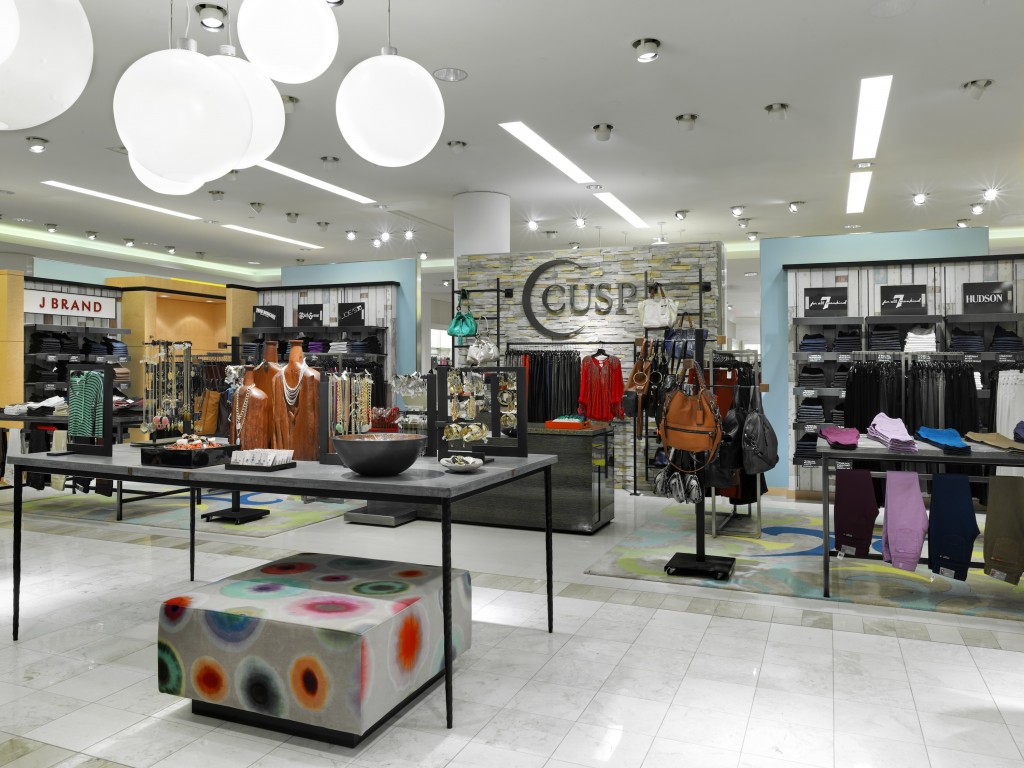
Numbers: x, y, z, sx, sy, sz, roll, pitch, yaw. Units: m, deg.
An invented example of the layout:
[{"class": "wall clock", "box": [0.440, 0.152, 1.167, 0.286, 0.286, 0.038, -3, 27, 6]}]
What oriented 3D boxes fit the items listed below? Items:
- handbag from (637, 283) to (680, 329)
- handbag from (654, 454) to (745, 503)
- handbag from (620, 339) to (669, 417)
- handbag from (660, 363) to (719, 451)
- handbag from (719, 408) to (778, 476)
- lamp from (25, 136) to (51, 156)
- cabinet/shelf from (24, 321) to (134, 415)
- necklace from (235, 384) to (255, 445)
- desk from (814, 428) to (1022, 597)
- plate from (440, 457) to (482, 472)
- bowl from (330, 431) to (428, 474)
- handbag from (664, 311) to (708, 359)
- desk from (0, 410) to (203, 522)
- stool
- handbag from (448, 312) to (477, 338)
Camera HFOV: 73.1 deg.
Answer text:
[{"class": "handbag", "box": [1.887, -1.006, 8.823, 0.602, 0.627, 0.229, 1, 3, 20]}, {"class": "handbag", "box": [1.521, 0.720, 5.669, 0.663, 0.373, 0.349, -2, 3, -34]}, {"class": "handbag", "box": [1.623, -0.082, 8.388, 0.617, 1.228, 0.994, 2, -1, 20]}, {"class": "handbag", "box": [1.402, 0.193, 5.466, 0.450, 0.703, 0.262, 0, 3, 11]}, {"class": "handbag", "box": [1.986, 0.478, 5.876, 0.384, 0.679, 0.697, -2, -2, 39]}, {"class": "lamp", "box": [-5.513, -2.773, 7.992, 0.180, 0.178, 0.171, 0, -5, -19]}, {"class": "cabinet/shelf", "box": [-5.948, -0.271, 9.290, 0.467, 1.275, 1.457, -5, -5, 31]}, {"class": "necklace", "box": [-1.790, 0.202, 4.628, 0.109, 0.399, 0.236, -1, 3, -23]}, {"class": "desk", "box": [2.862, 0.946, 4.949, 1.273, 1.119, 0.645, 1, 3, 22]}, {"class": "plate", "box": [-0.280, 0.430, 3.804, 0.187, 0.081, 0.242, -1, 3, -18]}, {"class": "bowl", "box": [-0.717, 0.371, 3.725, 0.448, 0.209, 0.339, 1, 3, 20]}, {"class": "handbag", "box": [2.123, -0.600, 8.423, 0.691, 0.706, 0.256, 2, 4, 34]}, {"class": "desk", "box": [-3.631, 0.732, 6.053, 1.260, 0.485, 0.838, 0, -4, 24]}, {"class": "stool", "box": [-0.996, 1.326, 3.580, 1.148, 0.600, 0.978, 1, 3, 26]}, {"class": "handbag", "box": [-0.678, -0.844, 9.534, 0.402, 0.328, 0.437, 0, 3, -3]}]
